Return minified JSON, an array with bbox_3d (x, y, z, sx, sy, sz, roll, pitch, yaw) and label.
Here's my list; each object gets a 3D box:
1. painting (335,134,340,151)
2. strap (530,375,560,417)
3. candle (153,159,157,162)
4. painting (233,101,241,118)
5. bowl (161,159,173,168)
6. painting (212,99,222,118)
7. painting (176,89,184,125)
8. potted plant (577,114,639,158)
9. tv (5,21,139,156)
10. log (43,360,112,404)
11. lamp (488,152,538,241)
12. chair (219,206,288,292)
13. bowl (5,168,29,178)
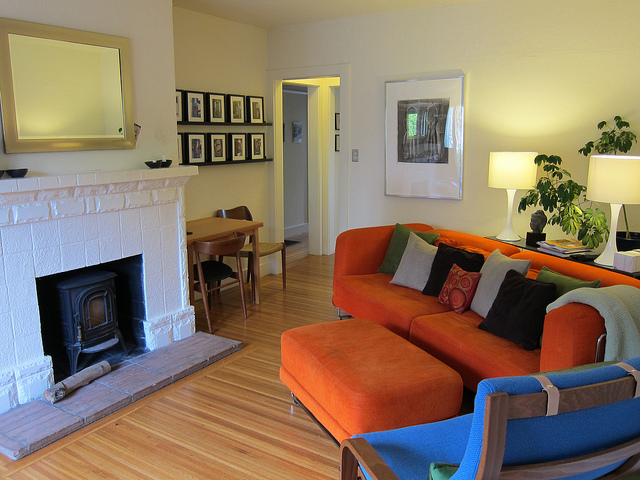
[{"bbox_3d":[0.264,-1.469,6.931,0.062,0.252,0.271,3,4,16],"label":"painting"},{"bbox_3d":[0.751,0.525,1.542,0.051,0.125,0.085,-4,15,-17],"label":"strap"},{"bbox_3d":[-1.391,-0.672,3.901,0.026,0.020,0.027,3,8,24],"label":"candle"},{"bbox_3d":[-0.969,-1.539,5.401,0.016,0.225,0.196,4,11,27],"label":"painting"},{"bbox_3d":[-1.306,-0.663,3.952,0.075,0.055,0.216,-2,15,-11],"label":"bowl"},{"bbox_3d":[-1.143,-1.480,5.169,0.032,0.198,0.145,7,16,24],"label":"painting"},{"bbox_3d":[-1.433,-1.382,4.776,0.076,0.349,0.122,-3,15,-13],"label":"painting"},{"bbox_3d":[2.505,-0.910,3.984,0.454,0.507,0.334,-8,16,-27],"label":"potted plant"},{"bbox_3d":[-1.816,-1.110,3.333,0.076,1.036,1.075,6,9,42],"label":"tv"},{"bbox_3d":[-1.777,1.030,3.420,0.150,0.097,0.497,8,16,27],"label":"log"},{"bbox_3d":[1.851,-0.441,4.427,0.424,0.884,0.426,-1,11,21],"label":"lamp"},{"bbox_3d":[-0.641,0.061,5.643,0.711,0.932,0.691,-2,4,-37],"label":"chair"},{"bbox_3d":[-1.998,-0.444,3.052,0.116,0.055,0.088,-8,17,-30],"label":"bowl"}]
